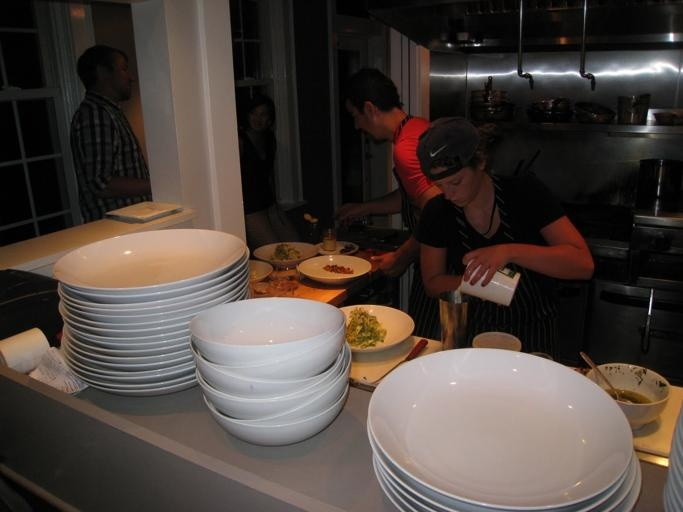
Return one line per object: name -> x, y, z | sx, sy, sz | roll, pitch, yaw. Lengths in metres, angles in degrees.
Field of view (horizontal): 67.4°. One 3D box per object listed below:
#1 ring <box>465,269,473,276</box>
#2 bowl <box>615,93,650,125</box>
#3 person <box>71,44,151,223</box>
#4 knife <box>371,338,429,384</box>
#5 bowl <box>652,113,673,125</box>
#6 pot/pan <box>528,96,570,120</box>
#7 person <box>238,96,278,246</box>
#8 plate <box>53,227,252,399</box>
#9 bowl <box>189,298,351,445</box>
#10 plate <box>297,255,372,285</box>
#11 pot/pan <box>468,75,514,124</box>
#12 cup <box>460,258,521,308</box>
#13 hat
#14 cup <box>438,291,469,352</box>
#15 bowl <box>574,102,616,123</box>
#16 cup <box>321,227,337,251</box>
ring -> 0.362, 0.046, 1.459 | 0.015, 0.017, 0.013 | 15, 3, 24
bowl -> 1.923, -0.961, 3.355 | 0.205, 0.187, 0.177 | 1, 15, 11
person -> -1.701, -0.881, 3.727 | 0.505, 1.258, 0.424 | -9, 16, -24
knife -> 0.184, 0.259, 1.374 | 0.061, 0.029, 0.328 | 1, 16, 37
bowl -> 2.068, -0.884, 3.292 | 0.023, 0.093, 0.093 | 0, 19, -46
pot/pan -> 1.467, -1.019, 3.582 | 0.188, 0.092, 0.215 | 2, 16, 5
person -> -0.666, -0.691, 4.193 | 0.292, 1.203, 0.437 | -4, 15, -7
plate -> -0.368, 0.097, 1.037 | 0.327, 0.166, 0.338 | 0, 16, 0
bowl -> -0.118, 0.195, 0.880 | 0.263, 0.196, 0.201 | 0, 15, 7
plate -> -0.037, 0.064, 2.448 | 0.326, 0.070, 0.337 | 3, 16, 18
pot/pan -> 1.086, -1.112, 3.751 | 0.237, 0.313, 0.415 | -3, 16, -3
cup -> 0.432, 0.081, 1.511 | 0.141, 0.121, 0.146 | 18, -2, 1
hat -> 0.403, -0.405, 1.842 | 0.249, 0.148, 0.176 | -43, 36, -16
cup -> 0.266, 0.152, 1.223 | 0.063, 0.127, 0.135 | 1, 15, 11
bowl -> 1.710, -1.009, 3.484 | 0.206, 0.099, 0.210 | 1, 27, 0
cup -> -0.062, -0.086, 2.735 | 0.068, 0.112, 0.113 | 0, 3, 0
